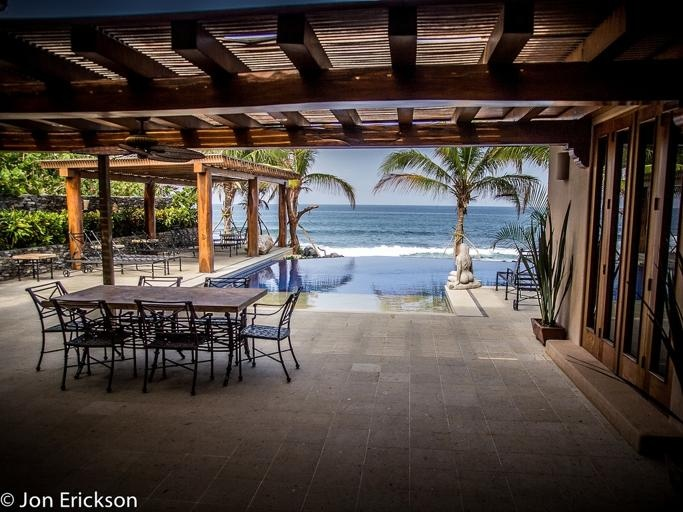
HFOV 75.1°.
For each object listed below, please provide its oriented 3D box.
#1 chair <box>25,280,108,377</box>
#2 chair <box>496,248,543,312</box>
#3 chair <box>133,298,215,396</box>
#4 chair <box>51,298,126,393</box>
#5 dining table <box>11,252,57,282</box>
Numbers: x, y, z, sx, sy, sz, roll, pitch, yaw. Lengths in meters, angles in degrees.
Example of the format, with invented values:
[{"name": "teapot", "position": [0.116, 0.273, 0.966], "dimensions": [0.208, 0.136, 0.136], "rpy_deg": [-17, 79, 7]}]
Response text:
[{"name": "chair", "position": [-3.349, 0.851, 5.431], "dimensions": [0.795, 0.935, 0.713], "rpy_deg": [-2, -2, -26]}, {"name": "chair", "position": [3.539, 0.534, 8.804], "dimensions": [0.522, 0.747, 1.543], "rpy_deg": [1, 0, 15]}, {"name": "chair", "position": [-1.803, 0.939, 4.867], "dimensions": [0.830, 0.882, 0.840], "rpy_deg": [-1, -2, 24]}, {"name": "chair", "position": [-2.780, 0.965, 4.971], "dimensions": [0.879, 0.912, 0.794], "rpy_deg": [-3, -3, 20]}, {"name": "dining table", "position": [-7.244, 0.190, 10.528], "dimensions": [0.864, 0.619, 0.939], "rpy_deg": [1, 3, 16]}]
